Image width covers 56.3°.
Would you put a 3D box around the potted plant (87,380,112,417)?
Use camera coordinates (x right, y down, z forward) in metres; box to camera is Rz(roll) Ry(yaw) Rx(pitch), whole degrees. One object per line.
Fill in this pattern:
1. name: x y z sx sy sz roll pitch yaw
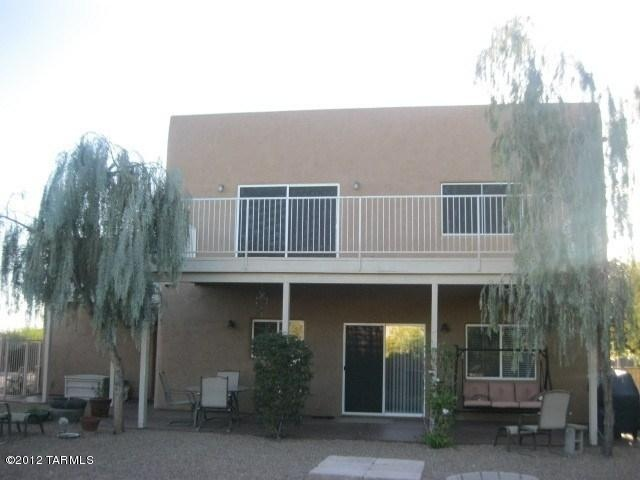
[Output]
1. potted plant: -4.900 3.453 13.132 0.611 1.049 0.647 3 -8 -28

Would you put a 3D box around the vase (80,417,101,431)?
1. vase: -4.554 3.607 11.819 0.253 0.189 0.272 7 -8 -21

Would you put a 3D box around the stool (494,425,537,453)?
1. stool: 3.631 3.574 11.059 0.783 0.526 0.698 1 -5 0

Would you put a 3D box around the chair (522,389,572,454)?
1. chair: 4.193 3.287 11.057 0.804 1.027 1.227 -5 -11 22
